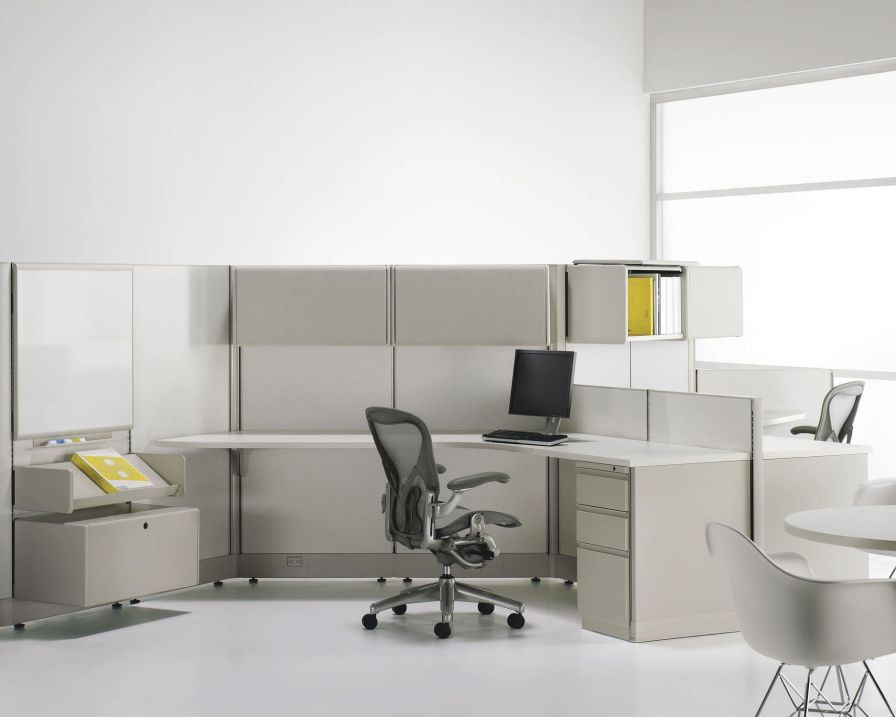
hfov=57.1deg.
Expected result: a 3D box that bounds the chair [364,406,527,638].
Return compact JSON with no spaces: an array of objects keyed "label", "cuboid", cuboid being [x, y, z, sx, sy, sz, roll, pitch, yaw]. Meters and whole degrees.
[{"label":"chair","cuboid":[-0.121,0.879,5.081,1.095,1.483,1.176,0,-4,-6]}]

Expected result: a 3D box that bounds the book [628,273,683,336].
[{"label":"book","cuboid":[1.395,-0.357,5.480,0.446,0.424,0.108,1,2,-15]}]

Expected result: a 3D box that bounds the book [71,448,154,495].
[{"label":"book","cuboid":[-1.945,0.660,4.831,0.298,0.060,0.275,39,15,35]}]

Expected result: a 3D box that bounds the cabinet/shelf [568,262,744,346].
[{"label":"cabinet/shelf","cuboid":[1.562,-0.393,5.780,1.451,0.538,0.459,-4,3,-38]}]

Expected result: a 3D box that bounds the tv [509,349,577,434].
[{"label":"tv","cuboid":[0.614,0.187,5.206,0.494,0.568,0.195,1,-16,41]}]
